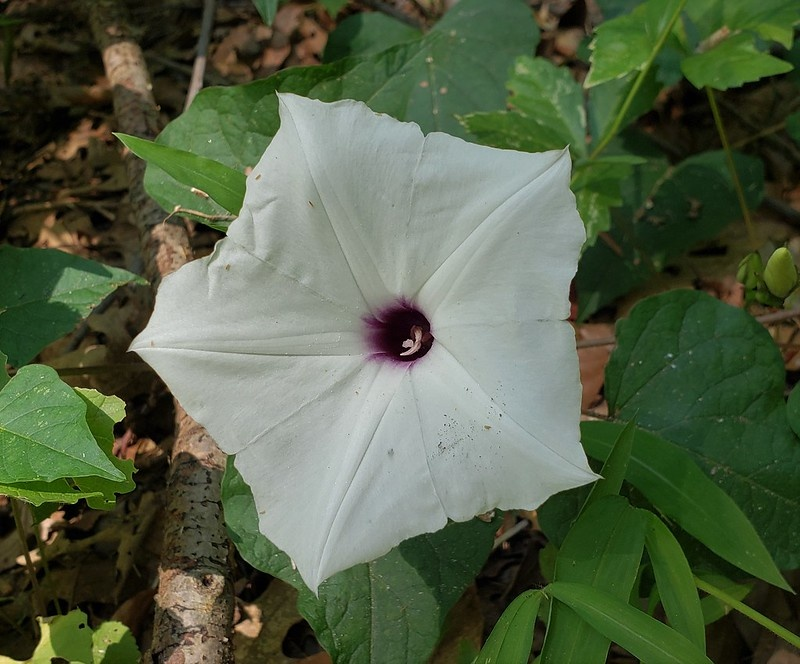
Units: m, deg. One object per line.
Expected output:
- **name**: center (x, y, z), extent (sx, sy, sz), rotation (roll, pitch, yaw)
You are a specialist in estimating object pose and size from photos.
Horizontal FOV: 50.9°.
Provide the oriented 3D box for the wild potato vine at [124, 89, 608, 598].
- **wild potato vine**: center (-0.093, 0.004, 2.252), extent (1.122, 0.441, 1.218), rotation (-2, 84, 0)
